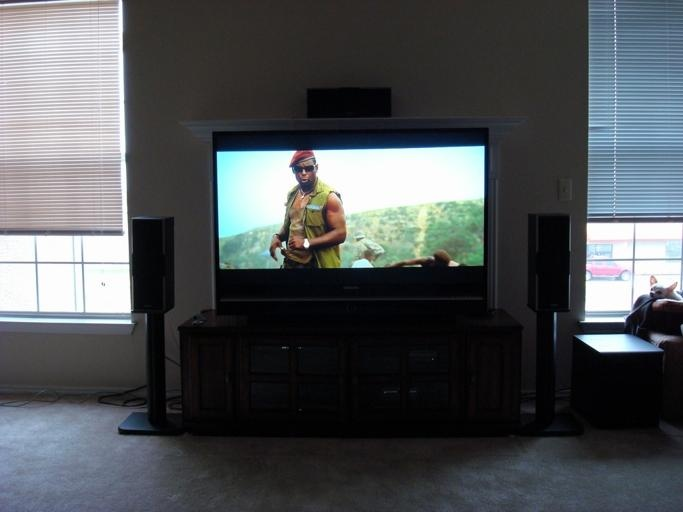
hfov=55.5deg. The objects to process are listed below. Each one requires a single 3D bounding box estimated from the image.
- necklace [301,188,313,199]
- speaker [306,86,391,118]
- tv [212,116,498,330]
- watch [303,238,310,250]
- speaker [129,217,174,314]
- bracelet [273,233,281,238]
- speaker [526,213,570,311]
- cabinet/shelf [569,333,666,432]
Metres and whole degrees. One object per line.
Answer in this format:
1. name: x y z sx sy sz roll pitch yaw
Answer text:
1. necklace: -0.243 -0.437 4.517 0.069 0.033 0.090 1 -3 -4
2. speaker: 0.050 -1.095 4.745 0.480 0.239 0.109 0 0 1
3. tv: 0.094 -0.208 4.510 1.483 1.064 0.514 0 -1 2
4. watch: -0.239 -0.089 4.527 0.057 0.075 0.018 -1 2 2
5. speaker: -1.294 0.063 4.481 0.293 0.524 0.206 -2 1 -19
6. bracelet: -0.445 -0.143 4.531 0.029 0.015 0.038 2 -27 -5
7. speaker: 1.390 0.044 4.356 0.275 0.655 0.095 -1 1 15
8. cabinet/shelf: 1.899 0.896 4.595 0.564 0.514 0.454 2 1 -14
